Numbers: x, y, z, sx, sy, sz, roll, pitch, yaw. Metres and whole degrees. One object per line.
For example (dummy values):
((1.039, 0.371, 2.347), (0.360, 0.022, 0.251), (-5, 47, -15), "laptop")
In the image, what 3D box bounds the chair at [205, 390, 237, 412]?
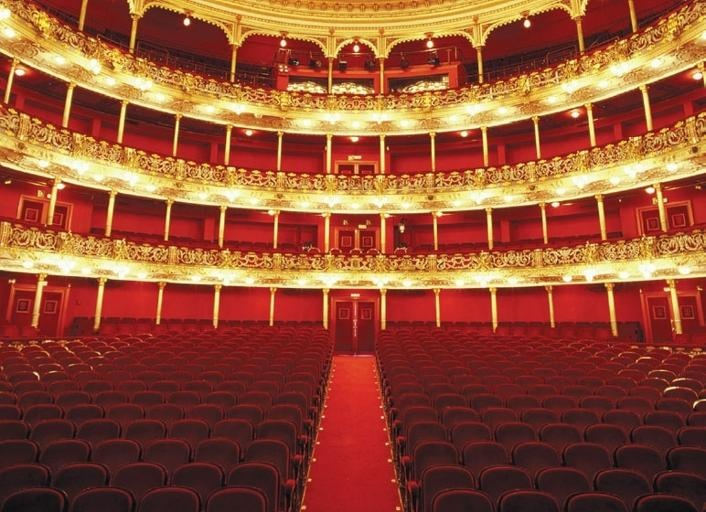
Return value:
((-2.907, 3.193, 11.111), (0.459, 0.406, 0.524), (-1, -1, 11), "chair")

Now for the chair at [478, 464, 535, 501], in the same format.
((2.565, 3.823, 8.485), (0.599, 0.658, 0.618), (0, -37, 0), "chair")

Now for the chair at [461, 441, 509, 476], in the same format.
((2.394, 3.672, 9.217), (0.611, 0.593, 0.694), (0, 45, 3), "chair")

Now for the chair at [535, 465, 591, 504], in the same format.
((3.559, 3.910, 8.691), (0.657, 0.678, 0.635), (-1, -38, 3), "chair")

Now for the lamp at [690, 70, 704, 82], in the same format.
((13.344, -7.006, 19.486), (0.597, 0.149, 0.573), (13, -15, 13), "lamp")

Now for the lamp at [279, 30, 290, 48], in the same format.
((-3.519, -11.091, 25.624), (0.419, 0.422, 0.381), (1, -36, -4), "lamp")

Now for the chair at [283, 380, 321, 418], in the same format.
((-1.274, 3.296, 11.853), (0.837, 0.783, 0.848), (-1, -22, 4), "chair")

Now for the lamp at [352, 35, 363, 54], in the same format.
((0.222, -11.078, 26.422), (0.477, 0.448, 1.368), (2, 6, 0), "lamp")

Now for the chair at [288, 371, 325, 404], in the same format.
((-1.199, 3.195, 12.351), (0.791, 0.725, 0.778), (0, -29, 6), "chair")

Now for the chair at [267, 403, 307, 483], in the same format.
((-1.304, 3.706, 9.807), (1.231, 1.478, 0.834), (-4, -27, 2), "chair")

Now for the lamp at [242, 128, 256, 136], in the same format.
((-5.152, -6.100, 24.883), (0.639, 0.238, 0.740), (3, 6, 0), "lamp")

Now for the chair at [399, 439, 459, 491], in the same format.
((1.406, 3.966, 9.511), (0.916, 0.945, 0.886), (0, -35, 4), "chair")

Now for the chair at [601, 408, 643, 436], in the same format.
((5.488, 3.383, 10.251), (0.501, 0.554, 0.490), (1, -28, 4), "chair")

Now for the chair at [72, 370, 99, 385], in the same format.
((-6.336, 2.892, 11.891), (0.369, 0.412, 0.353), (8, -23, -24), "chair")

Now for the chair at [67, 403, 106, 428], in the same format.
((-5.491, 3.243, 10.269), (0.567, 0.481, 0.494), (6, -24, -8), "chair")

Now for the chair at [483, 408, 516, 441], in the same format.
((3.042, 3.411, 10.503), (0.476, 0.520, 0.464), (1, -27, 2), "chair")

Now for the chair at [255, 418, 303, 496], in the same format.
((-1.421, 3.753, 9.919), (0.984, 1.144, 0.947), (-4, -28, 3), "chair")

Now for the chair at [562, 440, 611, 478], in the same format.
((4.225, 3.655, 9.117), (0.675, 0.706, 0.637), (1, -33, 5), "chair")

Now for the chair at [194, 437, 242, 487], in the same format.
((-2.479, 3.816, 9.463), (0.664, 0.719, 0.635), (1, -36, -1), "chair")

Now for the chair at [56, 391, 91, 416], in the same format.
((-6.060, 3.188, 10.842), (0.510, 0.465, 0.593), (0, 12, -2), "chair")

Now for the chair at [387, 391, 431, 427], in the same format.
((1.216, 3.339, 11.070), (0.875, 0.774, 0.849), (2, -4, 2), "chair")

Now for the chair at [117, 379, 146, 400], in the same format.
((-5.088, 3.066, 11.482), (0.425, 0.396, 0.494), (-2, -9, 3), "chair")

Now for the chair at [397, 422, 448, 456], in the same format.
((1.373, 3.731, 10.140), (0.767, 0.750, 0.778), (3, -43, 2), "chair")

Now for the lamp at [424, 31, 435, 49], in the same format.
((3.899, -11.055, 25.628), (0.453, 0.432, 0.422), (2, -29, 3), "lamp")
